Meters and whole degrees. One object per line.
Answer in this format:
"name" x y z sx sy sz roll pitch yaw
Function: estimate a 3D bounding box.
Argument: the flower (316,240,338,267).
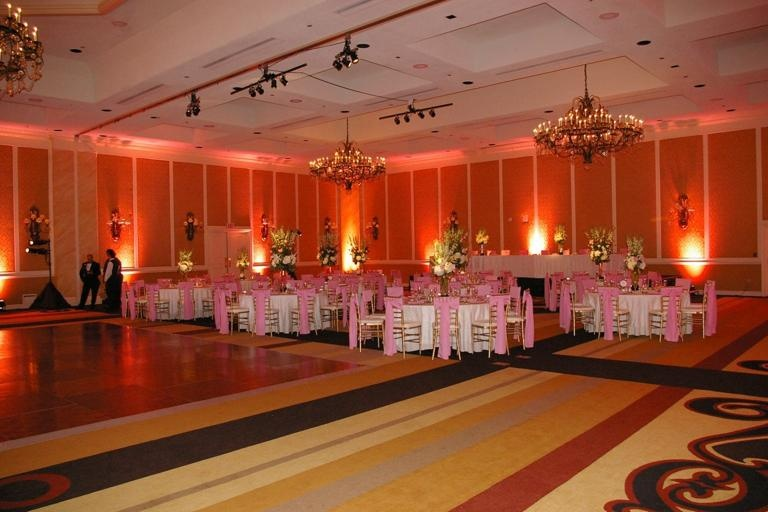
"flower" -1.548 -0.068 16.510 0.766 0.744 0.822 0 0 -16

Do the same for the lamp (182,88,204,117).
"lamp" -5.008 -4.057 14.410 0.203 0.573 0.341 6 -26 -6

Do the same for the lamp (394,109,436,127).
"lamp" 1.017 -4.325 17.105 1.153 0.319 1.150 -2 6 33

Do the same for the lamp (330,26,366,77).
"lamp" -0.660 -4.243 11.627 0.686 0.654 1.245 -1 12 -1

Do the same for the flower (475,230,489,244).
"flower" 4.019 -0.786 22.204 0.569 0.507 0.580 -10 -10 -10

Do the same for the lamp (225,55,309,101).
"lamp" -2.827 -4.227 13.375 1.035 0.638 2.541 -9 14 -32

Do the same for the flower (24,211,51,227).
"flower" -11.183 -1.219 17.793 0.657 0.433 0.211 -9 15 -32

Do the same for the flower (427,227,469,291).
"flower" 1.347 0.152 11.569 0.676 1.435 1.156 2 13 14
